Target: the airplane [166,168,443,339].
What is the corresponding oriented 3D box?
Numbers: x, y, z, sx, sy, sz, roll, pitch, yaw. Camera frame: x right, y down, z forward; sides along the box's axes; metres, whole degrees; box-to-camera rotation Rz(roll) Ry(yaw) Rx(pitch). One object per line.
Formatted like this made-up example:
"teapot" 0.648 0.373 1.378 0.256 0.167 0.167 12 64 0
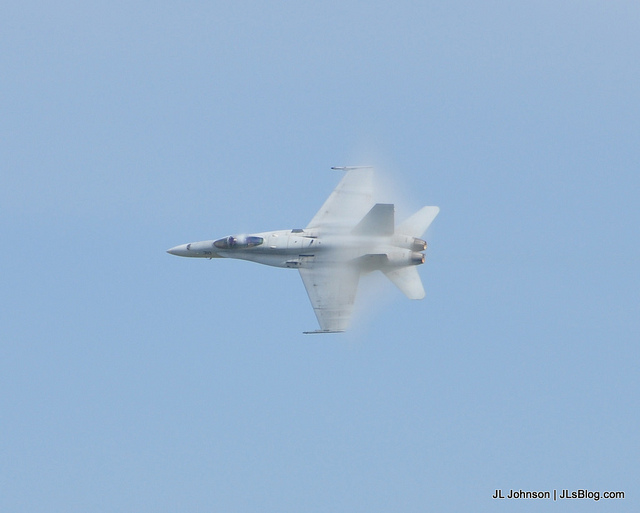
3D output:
"airplane" -0.247 -0.283 71.626 11.693 7.818 2.737 1 -24 1
